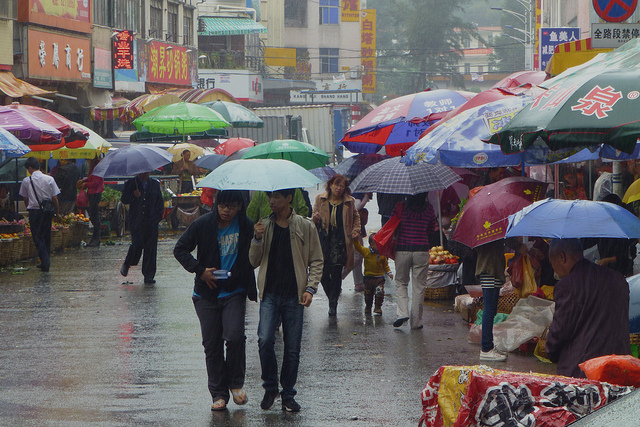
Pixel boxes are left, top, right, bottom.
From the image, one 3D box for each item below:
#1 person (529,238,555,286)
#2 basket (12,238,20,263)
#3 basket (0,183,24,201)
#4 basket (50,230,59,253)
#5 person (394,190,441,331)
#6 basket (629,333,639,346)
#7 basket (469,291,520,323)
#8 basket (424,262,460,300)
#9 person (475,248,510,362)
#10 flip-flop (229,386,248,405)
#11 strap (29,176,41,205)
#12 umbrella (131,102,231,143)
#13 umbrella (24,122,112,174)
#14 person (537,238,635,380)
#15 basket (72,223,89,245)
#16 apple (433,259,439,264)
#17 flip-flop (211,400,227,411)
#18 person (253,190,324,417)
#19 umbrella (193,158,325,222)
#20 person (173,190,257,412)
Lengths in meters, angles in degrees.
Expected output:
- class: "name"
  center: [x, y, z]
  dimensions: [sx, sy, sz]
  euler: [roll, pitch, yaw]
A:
- class: "person"
  center: [3.668, 0.832, 18.426]
  dimensions: [0.362, 0.359, 1.331]
  euler: [4, 44, 2]
- class: "basket"
  center: [-6.493, 0.734, 23.286]
  dimensions: [0.129, 0.576, 0.293]
  euler: [-1, 13, -7]
- class: "basket"
  center: [-6.969, -0.532, 24.608]
  dimensions: [0.423, 0.399, 0.153]
  euler: [0, -6, -8]
- class: "basket"
  center: [-6.081, 0.584, 24.997]
  dimensions: [0.177, 0.571, 0.322]
  euler: [0, 13, -1]
- class: "person"
  center: [1.585, 0.726, 18.421]
  dimensions: [0.673, 2.305, 0.810]
  euler: [4, 13, 19]
- class: "basket"
  center: [4.259, 1.700, 14.831]
  dimensions: [0.187, 0.182, 0.052]
  euler: [0, -8, 12]
- class: "basket"
  center: [2.970, 1.492, 18.177]
  dimensions: [0.559, 0.251, 0.559]
  euler: [-2, 0, -30]
- class: "basket"
  center: [2.251, 1.238, 20.283]
  dimensions: [0.636, 0.506, 0.660]
  euler: [1, -4, -5]
- class: "person"
  center: [2.660, 1.371, 16.909]
  dimensions: [0.477, 1.685, 0.616]
  euler: [0, 13, -1]
- class: "flip-flop"
  center: [-1.157, 2.571, 15.474]
  dimensions: [0.255, 0.238, 0.203]
  euler: [-1, 13, -6]
- class: "strap"
  center: [-5.876, -0.512, 22.443]
  dimensions: [0.070, 0.666, 0.073]
  euler: [-22, 4, -26]
- class: "umbrella"
  center: [-3.410, -2.323, 26.861]
  dimensions: [2.154, 0.851, 1.521]
  euler: [4, 13, 17]
- class: "umbrella"
  center: [-5.770, -1.555, 26.211]
  dimensions: [1.234, 0.860, 1.258]
  euler: [0, -2, -4]
- class: "person"
  center: [3.605, 1.294, 14.662]
  dimensions: [1.067, 2.636, 0.897]
  euler: [-17, 26, -19]
- class: "basket"
  center: [-5.753, 0.433, 26.202]
  dimensions: [0.168, 0.588, 0.591]
  euler: [5, 14, 22]
- class: "apple"
  center: [2.141, 0.858, 20.202]
  dimensions: [0.070, 0.075, 0.071]
  euler: [5, 7, 7]
- class: "flip-flop"
  center: [-1.421, 2.676, 15.319]
  dimensions: [0.209, 0.092, 0.100]
  euler: [8, -7, -28]
- class: "person"
  center: [-0.526, 1.205, 15.381]
  dimensions: [0.873, 3.010, 1.004]
  euler: [5, 13, 20]
- class: "umbrella"
  center: [-0.848, -0.500, 15.432]
  dimensions: [1.085, 0.659, 1.127]
  euler: [-2, 3, 13]
- class: "person"
  center: [-1.403, 1.162, 15.411]
  dimensions: [1.023, 3.034, 0.863]
  euler: [-1, 13, -5]
